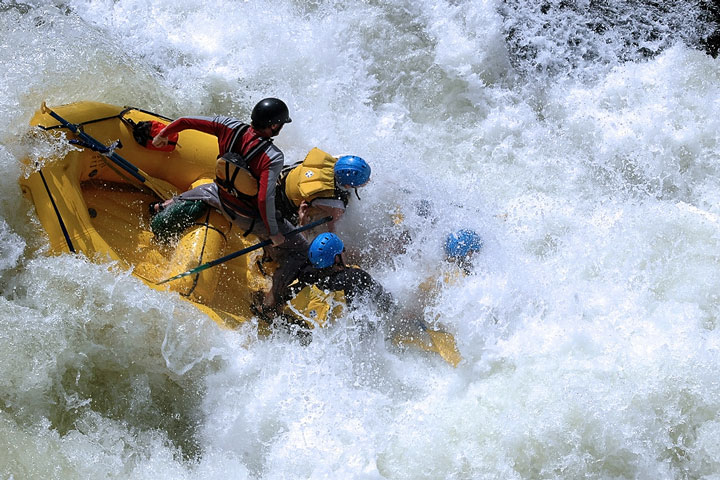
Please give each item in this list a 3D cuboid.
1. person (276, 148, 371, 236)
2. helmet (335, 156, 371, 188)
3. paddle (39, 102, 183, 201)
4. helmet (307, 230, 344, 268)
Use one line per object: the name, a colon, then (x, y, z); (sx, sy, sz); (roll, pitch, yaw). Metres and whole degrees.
person: (-0.629, -0.761, 13.018); (1.612, 0.575, 1.214); (-17, 51, 13)
helmet: (-0.136, -0.921, 12.812); (0.456, 0.365, 0.373); (1, 19, -15)
paddle: (-3.418, -1.190, 12.829); (0.310, 2.060, 0.443); (-6, 52, 58)
helmet: (-0.490, 0.103, 12.866); (0.520, 0.433, 0.371); (-32, 34, -32)
